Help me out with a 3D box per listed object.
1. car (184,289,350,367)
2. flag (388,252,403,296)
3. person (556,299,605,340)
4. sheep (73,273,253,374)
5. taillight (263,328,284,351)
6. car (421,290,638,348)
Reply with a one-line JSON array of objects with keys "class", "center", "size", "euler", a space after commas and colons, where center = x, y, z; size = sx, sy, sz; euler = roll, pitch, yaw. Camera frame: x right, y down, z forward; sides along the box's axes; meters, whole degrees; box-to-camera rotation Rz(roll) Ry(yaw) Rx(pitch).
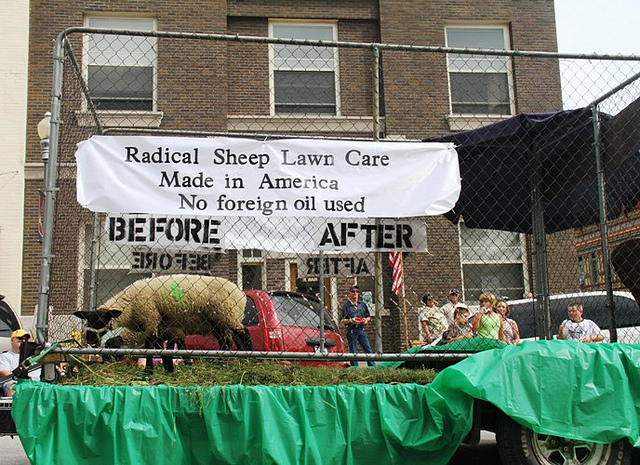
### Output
[{"class": "car", "center": [-0.337, 1.552, 18.818], "size": [1.844, 1.026, 1.165], "euler": [0, -6, 35]}, {"class": "flag", "center": [1.223, 0.632, 18.911], "size": [0.219, 0.153, 1.126], "euler": [-2, -41, 6]}, {"class": "person", "center": [4.016, 1.457, 18.583], "size": [0.686, 0.865, 0.422], "euler": [-5, 5, 19]}, {"class": "sheep", "center": [-2.005, 1.200, 15.930], "size": [2.245, 1.344, 0.701], "euler": [0, 2, -9]}, {"class": "taillight", "center": [-0.716, 1.655, 18.467], "size": [0.287, 0.365, 0.267], "euler": [-1, -10, -12]}, {"class": "car", "center": [3.730, 1.250, 20.309], "size": [2.979, 1.394, 1.540], "euler": [0, -14, 2]}]
